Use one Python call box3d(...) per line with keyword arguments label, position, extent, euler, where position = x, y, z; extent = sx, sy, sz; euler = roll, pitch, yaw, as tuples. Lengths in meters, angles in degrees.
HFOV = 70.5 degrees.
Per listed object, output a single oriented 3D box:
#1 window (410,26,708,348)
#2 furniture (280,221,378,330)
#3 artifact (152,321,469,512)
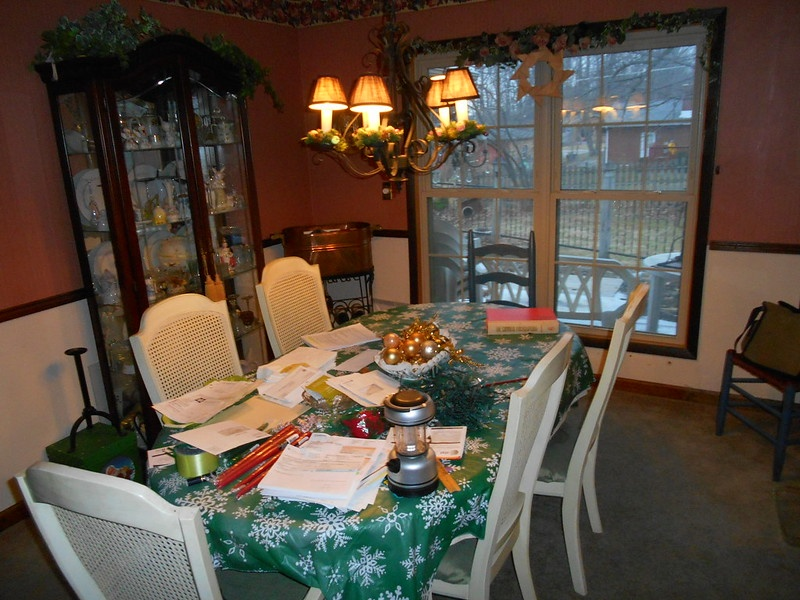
box3d(label="window", position=(1.178, -0.817, 3.841), extent=(2.286, 2.258, 0.245), euler=(7, 23, 26))
box3d(label="furniture", position=(-0.509, -0.210, 4.051), extent=(0.792, 0.914, 0.354), euler=(-7, 10, -20))
box3d(label="artifact", position=(-0.344, 0.365, 1.939), extent=(0.505, 0.174, 0.725), euler=(-3, 18, 13))
